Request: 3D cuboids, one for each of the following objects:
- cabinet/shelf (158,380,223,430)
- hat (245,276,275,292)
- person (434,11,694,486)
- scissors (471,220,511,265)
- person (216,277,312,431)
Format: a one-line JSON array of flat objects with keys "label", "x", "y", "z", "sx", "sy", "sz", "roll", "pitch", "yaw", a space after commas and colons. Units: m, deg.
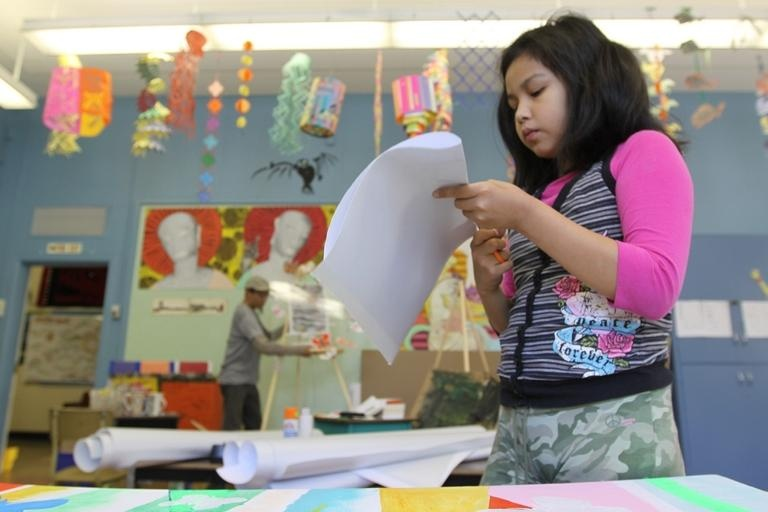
[{"label": "cabinet/shelf", "x": -1.709, "y": 1.323, "z": 5.683, "sx": 0.593, "sy": 0.438, "sz": 0.145, "roll": -2, "pitch": -6, "yaw": 8}, {"label": "hat", "x": -1.137, "y": 0.262, "z": 5.791, "sx": 0.201, "sy": 0.122, "sz": 0.131, "roll": 3, "pitch": 3, "yaw": -28}, {"label": "person", "x": 0.801, "y": -0.053, "z": 2.679, "sx": 0.923, "sy": 2.054, "sz": 0.457, "roll": -4, "pitch": -6, "yaw": 24}, {"label": "scissors", "x": 0.474, "y": -0.061, "z": 2.836, "sx": 0.092, "sy": 0.103, "sz": 0.170, "roll": 4, "pitch": -18, "yaw": 27}, {"label": "person", "x": -1.062, "y": 0.839, "z": 5.540, "sx": 0.639, "sy": 1.323, "sz": 0.601, "roll": 3, "pitch": -7, "yaw": -37}]
